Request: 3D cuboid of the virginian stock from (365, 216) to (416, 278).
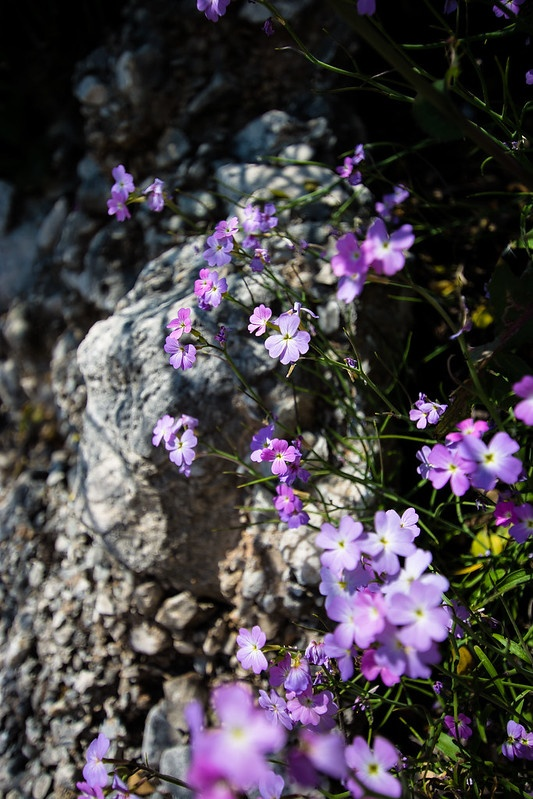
[{"bbox_3d":[0.208,-0.264,1.163,0.079,0.047,0.085,11,60,34],"label":"virginian stock"}]
